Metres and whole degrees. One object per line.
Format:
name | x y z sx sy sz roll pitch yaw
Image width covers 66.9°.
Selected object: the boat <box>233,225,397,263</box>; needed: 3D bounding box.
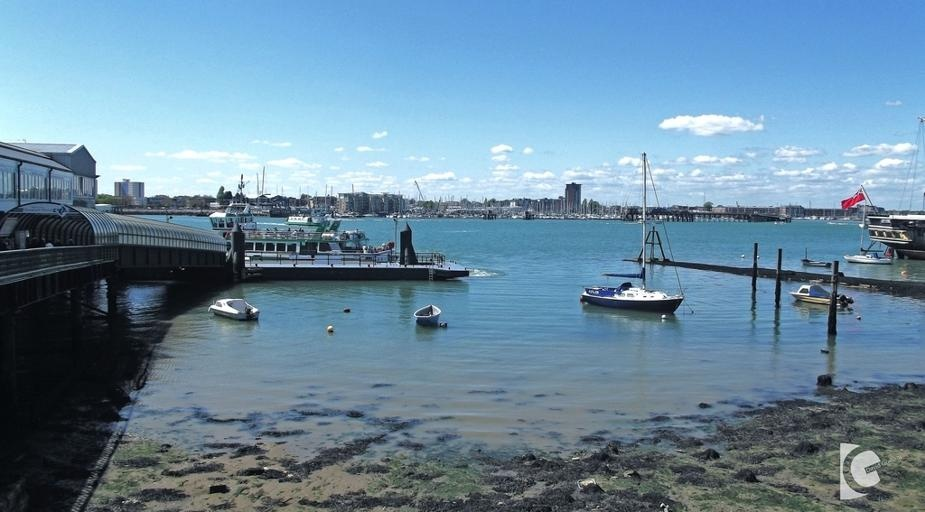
boat | -32.949 -1.435 111.234 39.184 5.917 6.919 2 0 -2
